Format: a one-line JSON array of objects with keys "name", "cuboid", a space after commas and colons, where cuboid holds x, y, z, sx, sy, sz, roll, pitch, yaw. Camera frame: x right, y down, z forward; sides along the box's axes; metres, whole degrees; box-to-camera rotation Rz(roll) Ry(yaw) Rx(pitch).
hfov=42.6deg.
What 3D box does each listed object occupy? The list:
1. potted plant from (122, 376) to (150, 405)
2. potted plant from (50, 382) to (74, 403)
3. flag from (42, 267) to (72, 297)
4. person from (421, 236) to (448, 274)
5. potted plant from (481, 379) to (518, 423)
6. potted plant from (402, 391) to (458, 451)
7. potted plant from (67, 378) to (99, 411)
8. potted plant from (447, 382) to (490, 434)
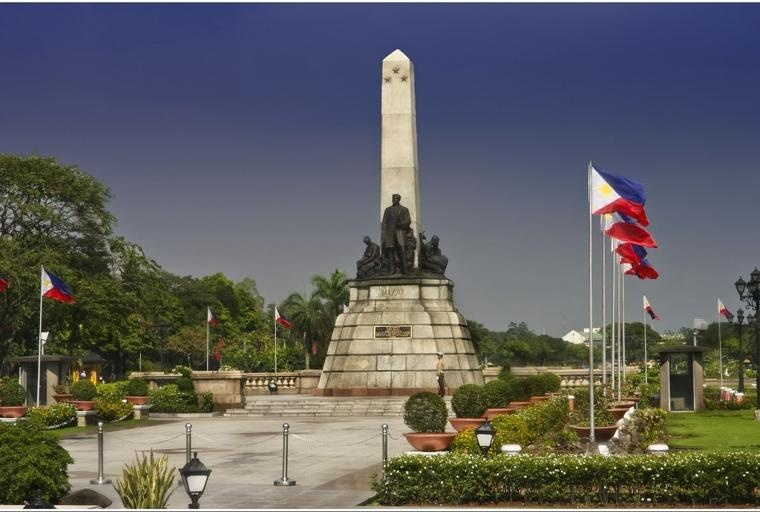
[{"name": "potted plant", "cuboid": [-11.071, 6.131, 44.569, 1.149, 1.145, 1.132, -1, -4, -2]}, {"name": "potted plant", "cuboid": [-13.639, 5.744, 41.667, 0.961, 0.591, 0.931, 2, -9, -11]}, {"name": "flag", "cuboid": [-14.750, 1.238, 44.099, 1.243, 1.382, 1.405, 4, -11, -27]}, {"name": "person", "cuboid": [2.795, -0.039, 50.121, 1.232, 2.068, 0.738, -1, -11, -3]}, {"name": "potted plant", "cuboid": [4.090, 4.721, 33.153, 1.282, 1.244, 1.291, 1, -12, -11]}, {"name": "potted plant", "cuboid": [1.439, 4.862, 28.943, 1.894, 1.782, 1.710, 0, -8, 1]}, {"name": "potted plant", "cuboid": [-12.520, 5.854, 41.221, 1.319, 1.206, 1.190, 2, -8, -16]}, {"name": "potted plant", "cuboid": [2.744, 4.565, 29.892, 1.504, 1.404, 1.323, 2, -5, -6]}]
